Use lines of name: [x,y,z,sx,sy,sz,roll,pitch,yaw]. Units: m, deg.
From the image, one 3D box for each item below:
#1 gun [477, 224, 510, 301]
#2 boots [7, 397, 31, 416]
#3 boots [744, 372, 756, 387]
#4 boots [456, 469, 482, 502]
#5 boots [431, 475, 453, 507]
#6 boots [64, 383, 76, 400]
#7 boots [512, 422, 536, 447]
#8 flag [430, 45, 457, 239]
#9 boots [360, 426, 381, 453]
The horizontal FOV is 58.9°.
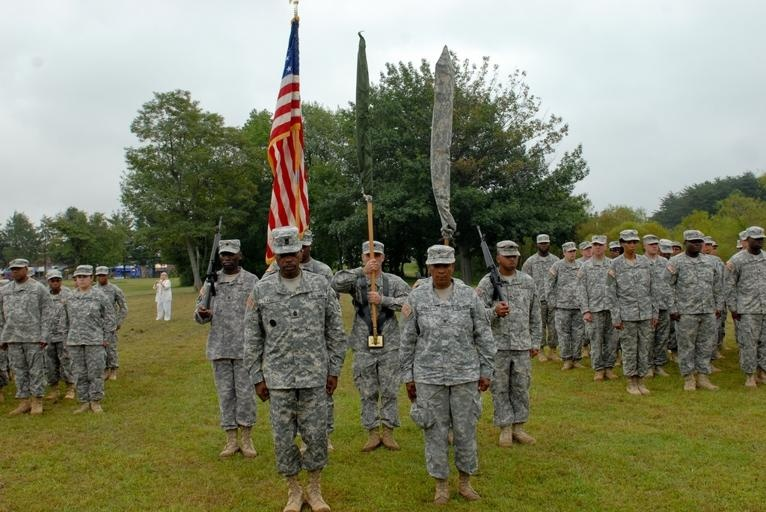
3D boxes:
gun: [1.923,0.137,11.942,0.518,1.354,0.495,2,-1,0]
boots: [-7.560,3.122,14.080,0.402,0.221,0.382,-8,12,-31]
boots: [7.833,2.626,14.418,0.292,0.295,0.273,1,-4,2]
boots: [1.323,3.658,10.726,0.250,0.383,0.505,2,-7,-26]
boots: [0.915,3.646,10.699,0.262,0.366,0.345,-1,11,6]
boots: [-7.073,3.076,15.272,0.211,0.384,0.382,3,13,3]
boots: [2.595,3.221,12.195,0.194,0.400,0.525,5,-8,-45]
flag: [1.120,-2.079,12.845,0.689,3.820,0.382,-2,-10,29]
boots: [-0.303,3.318,12.166,0.209,0.354,0.550,-11,-9,33]
